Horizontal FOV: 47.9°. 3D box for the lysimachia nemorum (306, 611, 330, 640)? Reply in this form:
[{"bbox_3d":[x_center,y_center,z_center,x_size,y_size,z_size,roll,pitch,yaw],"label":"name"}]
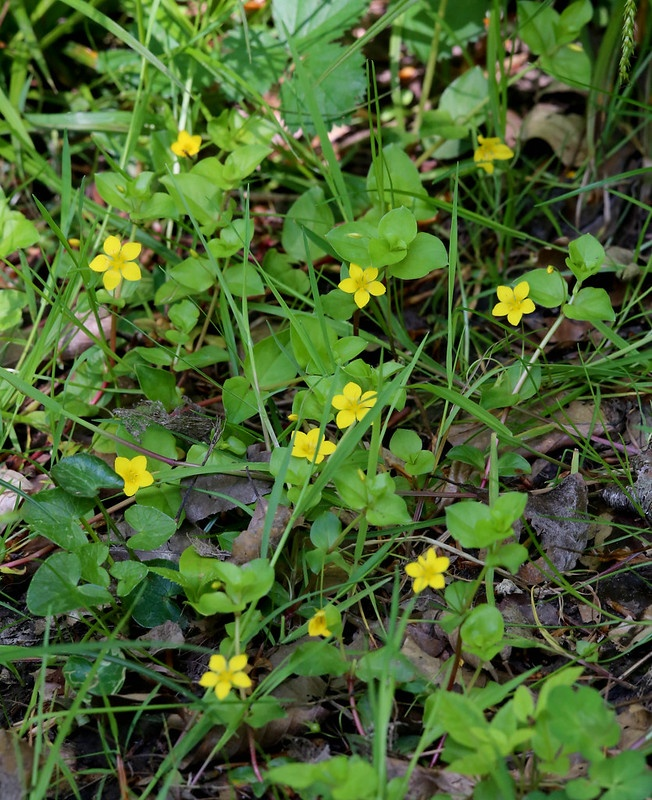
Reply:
[{"bbox_3d":[-0.012,0.438,1.423,0.042,0.091,0.050,-16,69,6],"label":"lysimachia nemorum"}]

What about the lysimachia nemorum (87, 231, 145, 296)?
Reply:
[{"bbox_3d":[-0.496,-0.335,1.781,0.127,0.130,0.043,-36,57,-6],"label":"lysimachia nemorum"}]

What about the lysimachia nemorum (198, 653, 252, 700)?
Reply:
[{"bbox_3d":[-0.156,0.451,1.199,0.083,0.110,0.071,-9,70,7],"label":"lysimachia nemorum"}]

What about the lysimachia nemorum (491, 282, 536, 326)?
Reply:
[{"bbox_3d":[0.456,-0.222,1.756,0.117,0.034,0.101,9,94,15],"label":"lysimachia nemorum"}]

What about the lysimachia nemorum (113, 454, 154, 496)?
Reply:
[{"bbox_3d":[-0.416,0.159,1.583,0.100,0.036,0.083,25,88,-14],"label":"lysimachia nemorum"}]
